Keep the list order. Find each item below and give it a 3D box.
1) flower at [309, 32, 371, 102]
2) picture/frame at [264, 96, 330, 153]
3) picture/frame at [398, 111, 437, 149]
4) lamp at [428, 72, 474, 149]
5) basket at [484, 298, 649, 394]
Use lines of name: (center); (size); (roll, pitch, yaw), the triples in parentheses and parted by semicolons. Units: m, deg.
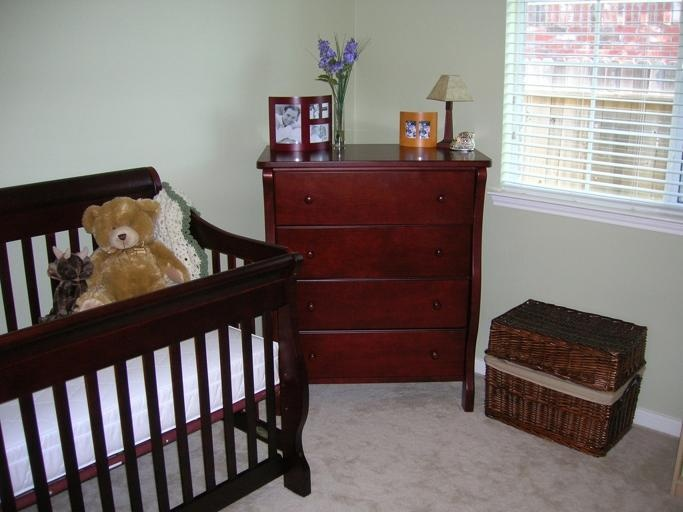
flower: (-0.003, -1.069, 3.006); (0.305, 0.360, 0.799); (2, 17, 2)
picture/frame: (-0.210, -0.657, 2.689); (0.261, 0.223, 0.104); (-5, 16, -16)
picture/frame: (0.398, -0.653, 2.791); (0.170, 0.166, 0.074); (2, 16, 11)
lamp: (0.570, -0.774, 2.848); (0.213, 0.372, 0.359); (5, 17, 11)
basket: (1.111, 0.301, 2.523); (0.479, 0.202, 0.391); (14, 20, 41)
